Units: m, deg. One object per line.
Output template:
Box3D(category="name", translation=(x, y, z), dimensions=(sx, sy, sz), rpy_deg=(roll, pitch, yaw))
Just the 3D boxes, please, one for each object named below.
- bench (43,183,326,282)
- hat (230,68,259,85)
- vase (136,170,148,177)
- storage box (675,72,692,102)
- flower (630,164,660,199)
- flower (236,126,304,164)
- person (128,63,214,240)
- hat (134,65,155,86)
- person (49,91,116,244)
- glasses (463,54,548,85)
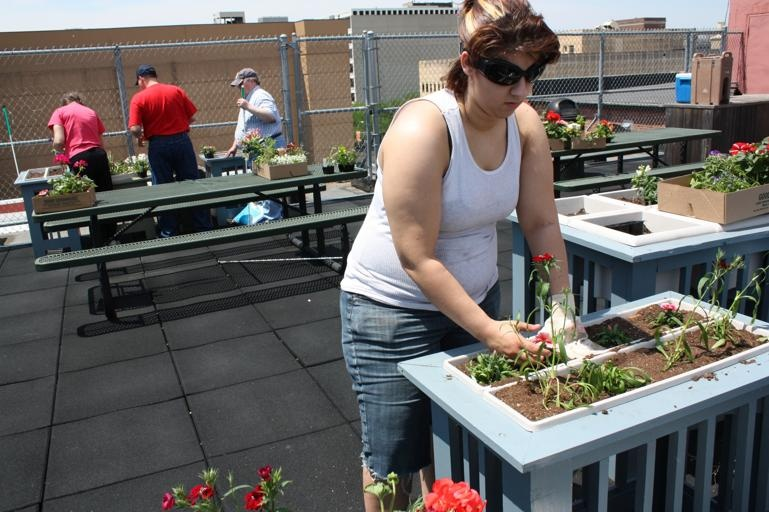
Box3D(category="bench", translation=(-1.747, -0.296, 5.924), dimensions=(1.941, 0.348, 2.776), rpy_deg=(2, 20, 18))
Box3D(category="hat", translation=(-1.849, -2.295, 7.353), dimensions=(0.467, 0.273, 0.309), rpy_deg=(-6, 19, -15))
Box3D(category="vase", translation=(-3.376, -1.158, 8.091), dimensions=(0.108, 0.081, 0.099), rpy_deg=(-1, 4, -18))
Box3D(category="storage box", translation=(5.067, -2.852, 9.775), dimensions=(0.290, 0.480, 0.285), rpy_deg=(-21, 24, -41))
Box3D(category="flower", translation=(1.791, -0.497, 3.973), dimensions=(0.148, 0.220, 0.435), rpy_deg=(3, 20, 22))
Box3D(category="flower", translation=(-1.276, -1.254, 6.684), dimensions=(0.577, 0.351, 0.983), rpy_deg=(-13, 21, -24))
Box3D(category="person", translation=(-2.906, -1.543, 7.744), dimensions=(0.695, 2.059, 0.686), rpy_deg=(-11, 32, -23))
Box3D(category="hat", translation=(-3.032, -2.324, 7.366), dimensions=(0.201, 0.238, 0.317), rpy_deg=(-14, 21, -27))
Box3D(category="person", translation=(-3.836, -1.203, 7.362), dimensions=(0.564, 1.776, 0.650), rpy_deg=(-4, 6, 45))
Box3D(category="glasses", translation=(0.450, -0.698, 2.173), dimensions=(0.147, 0.059, 0.172), rpy_deg=(-7, 32, -27))
